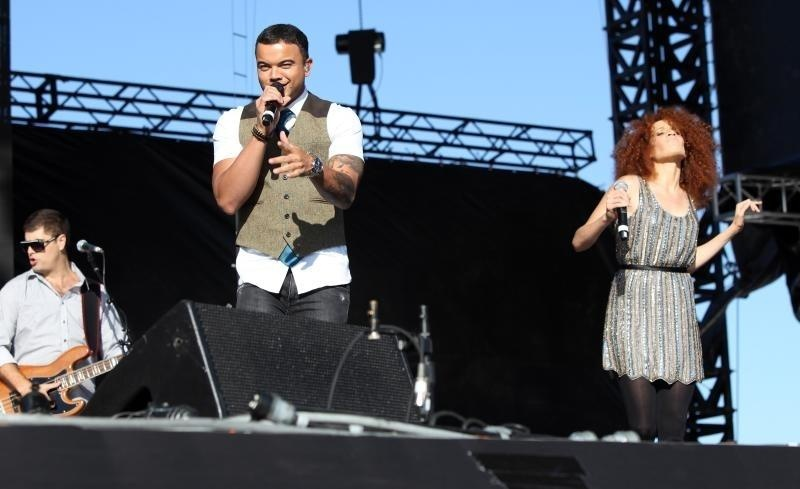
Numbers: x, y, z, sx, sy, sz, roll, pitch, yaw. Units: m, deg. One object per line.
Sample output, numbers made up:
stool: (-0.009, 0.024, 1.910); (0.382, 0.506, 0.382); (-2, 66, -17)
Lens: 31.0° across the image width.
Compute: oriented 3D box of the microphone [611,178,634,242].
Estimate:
microphone: (1.656, -0.241, 10.796); (0.122, 0.431, 0.106); (-3, -20, 5)

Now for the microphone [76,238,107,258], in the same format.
microphone: (-2.916, 0.026, 13.610); (0.390, 0.118, 0.117); (9, 33, 41)

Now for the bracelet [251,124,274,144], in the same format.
bracelet: (-0.990, -0.801, 10.361); (0.112, 0.064, 0.130); (29, 11, 20)

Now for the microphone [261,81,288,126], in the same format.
microphone: (-0.914, -1.024, 10.425); (0.108, 0.355, 0.204); (1, -3, 9)

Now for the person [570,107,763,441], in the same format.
person: (1.972, 0.180, 10.930); (1.113, 2.536, 0.691); (3, -3, -29)
